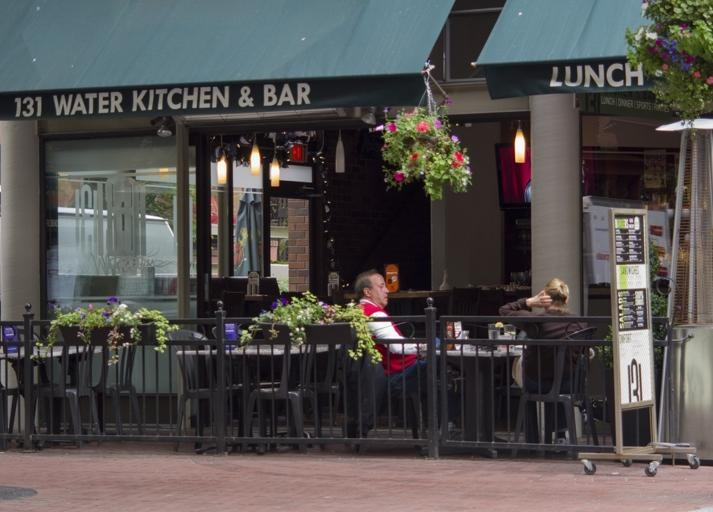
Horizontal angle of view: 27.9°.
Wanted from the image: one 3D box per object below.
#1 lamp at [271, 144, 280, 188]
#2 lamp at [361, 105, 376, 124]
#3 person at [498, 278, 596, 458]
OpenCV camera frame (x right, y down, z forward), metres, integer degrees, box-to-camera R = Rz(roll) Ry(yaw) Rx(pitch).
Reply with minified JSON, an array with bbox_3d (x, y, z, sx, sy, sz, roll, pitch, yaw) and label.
[{"bbox_3d":[-1.185,-1.291,20.699,0.155,0.574,0.411,-2,-4,-3],"label":"lamp"},{"bbox_3d":[0.140,-1.552,15.765,0.169,0.170,0.166,3,10,-26],"label":"lamp"},{"bbox_3d":[1.901,1.065,14.421,0.764,1.665,1.317,-2,-4,6],"label":"person"}]
